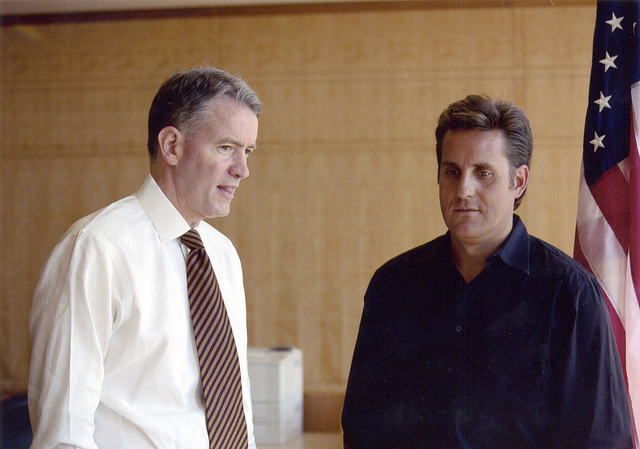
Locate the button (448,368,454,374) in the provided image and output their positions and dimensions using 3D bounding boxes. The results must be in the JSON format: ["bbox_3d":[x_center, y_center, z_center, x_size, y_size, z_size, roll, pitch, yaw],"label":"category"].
[{"bbox_3d":[0.422,0.464,3.462,0.015,0.016,0.004,-15,-2,7],"label":"button"}]

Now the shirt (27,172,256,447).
[{"bbox_3d":[-0.545,0.267,3.274,0.454,0.920,0.624,-12,-19,43],"label":"shirt"}]
